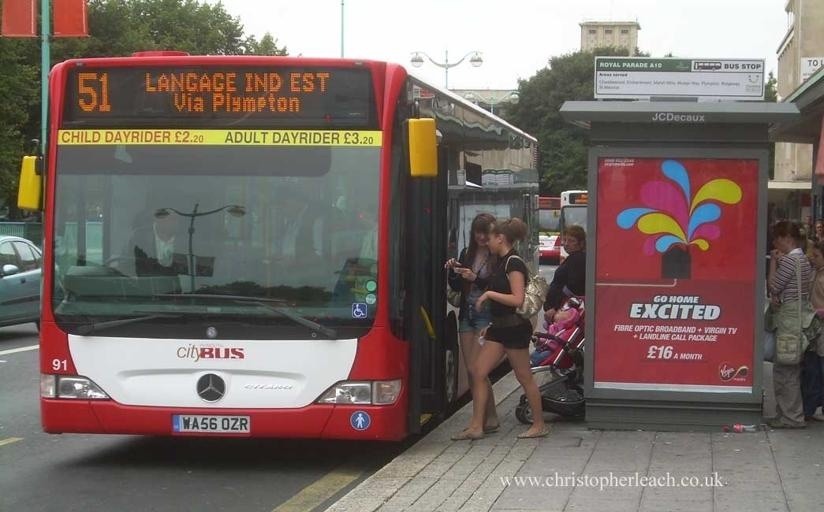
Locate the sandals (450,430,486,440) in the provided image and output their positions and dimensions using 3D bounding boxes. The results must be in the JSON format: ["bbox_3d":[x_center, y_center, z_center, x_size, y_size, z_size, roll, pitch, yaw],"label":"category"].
[{"bbox_3d":[0.620,2.001,10.003,0.388,0.151,0.134,2,0,5],"label":"sandals"}]

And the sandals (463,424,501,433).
[{"bbox_3d":[0.800,1.982,10.266,0.401,0.165,0.143,3,-2,-19],"label":"sandals"}]

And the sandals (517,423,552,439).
[{"bbox_3d":[1.365,1.972,10.013,0.399,0.155,0.141,0,-1,-6],"label":"sandals"}]

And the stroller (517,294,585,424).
[{"bbox_3d":[1.755,1.246,11.035,1.119,1.380,0.976,-5,-3,-3],"label":"stroller"}]

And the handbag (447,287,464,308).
[{"bbox_3d":[0.520,0.513,10.700,0.185,0.191,0.217,1,-5,5],"label":"handbag"}]

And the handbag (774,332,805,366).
[{"bbox_3d":[4.329,1.074,10.224,0.245,0.412,0.313,7,-10,-34],"label":"handbag"}]

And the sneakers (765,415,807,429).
[{"bbox_3d":[4.261,1.917,10.287,0.447,0.198,0.178,-3,1,11],"label":"sneakers"}]

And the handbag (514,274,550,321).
[{"bbox_3d":[1.361,0.345,9.890,0.173,0.508,0.509,25,53,21],"label":"handbag"}]

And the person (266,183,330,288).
[{"bbox_3d":[-1.106,-0.229,8.942,0.554,1.041,0.216,-3,7,-7],"label":"person"}]

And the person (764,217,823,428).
[{"bbox_3d":[4.346,0.802,10.320,0.560,2.383,0.633,0,7,22],"label":"person"}]

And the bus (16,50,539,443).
[{"bbox_3d":[-1.406,0.033,9.284,2.020,1.887,5.020,0,-1,19],"label":"bus"}]
